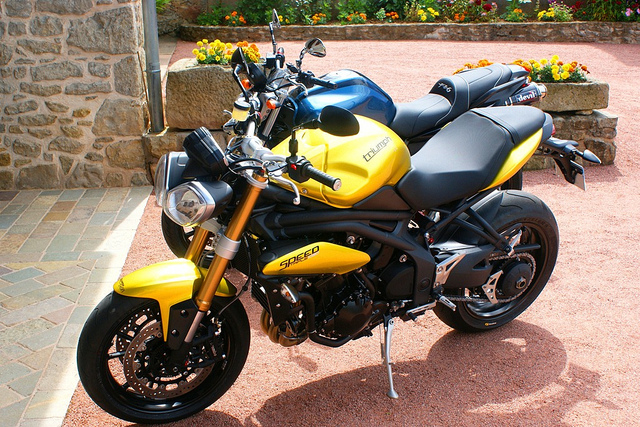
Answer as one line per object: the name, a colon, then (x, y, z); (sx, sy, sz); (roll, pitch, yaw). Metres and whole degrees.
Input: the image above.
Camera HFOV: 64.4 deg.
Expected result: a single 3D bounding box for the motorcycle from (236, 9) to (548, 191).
motorcycle: (0.771, -0.949, 4.730); (3.163, 1.923, 1.497); (-6, 25, -18)
